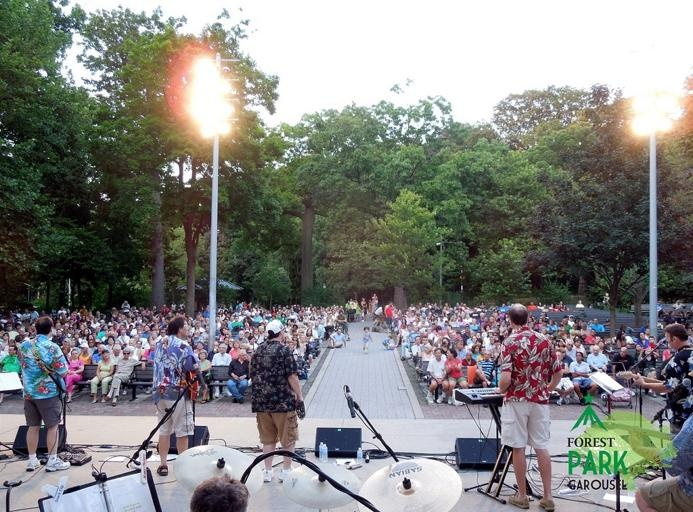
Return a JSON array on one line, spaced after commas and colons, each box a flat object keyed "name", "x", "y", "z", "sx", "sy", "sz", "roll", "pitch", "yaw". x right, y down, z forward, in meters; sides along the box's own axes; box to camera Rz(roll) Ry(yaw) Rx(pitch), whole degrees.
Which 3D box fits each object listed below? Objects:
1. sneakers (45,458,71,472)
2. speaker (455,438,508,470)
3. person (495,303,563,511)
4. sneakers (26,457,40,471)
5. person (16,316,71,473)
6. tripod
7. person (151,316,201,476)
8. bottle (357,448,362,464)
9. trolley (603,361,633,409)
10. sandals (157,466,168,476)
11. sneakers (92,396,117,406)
[{"name": "sneakers", "x": -5.466, "y": 3.948, "z": 12.611, "sx": 0.483, "sy": 0.280, "sz": 0.204, "roll": 2, "pitch": 1, "yaw": -16}, {"name": "speaker", "x": 2.506, "y": 3.808, "z": 12.756, "sx": 0.831, "sy": 0.586, "sz": 0.689, "roll": 0, "pitch": -1, "yaw": 3}, {"name": "person", "x": 3.133, "y": 2.572, "z": 11.329, "sx": 0.980, "sy": 3.513, "sz": 0.436, "roll": -1, "pitch": -5, "yaw": 10}, {"name": "sneakers", "x": -5.891, "y": 3.936, "z": 12.556, "sx": 0.164, "sy": 0.228, "sz": 0.329, "roll": 1, "pitch": 0, "yaw": 2}, {"name": "person", "x": -5.715, "y": 2.623, "z": 12.640, "sx": 0.847, "sy": 2.887, "sz": 0.600, "roll": 3, "pitch": -6, "yaw": -36}, {"name": "tripod", "x": 2.679, "y": 3.597, "z": 13.016, "sx": 1.199, "sy": 1.754, "sz": 1.137, "roll": -4, "pitch": -8, "yaw": -2}, {"name": "person", "x": -3.170, "y": 2.598, "z": 12.369, "sx": 0.816, "sy": 2.946, "sz": 0.433, "roll": 1, "pitch": -5, "yaw": -13}, {"name": "bottle", "x": 0.284, "y": 3.929, "z": 13.090, "sx": 0.122, "sy": 0.242, "sz": 0.353, "roll": -1, "pitch": -6, "yaw": 1}, {"name": "trolley", "x": 8.114, "y": 3.548, "z": 19.652, "sx": 0.555, "sy": 0.595, "sz": 1.009, "roll": 12, "pitch": -42, "yaw": 16}, {"name": "sandals", "x": -3.406, "y": 3.984, "z": 12.334, "sx": 0.195, "sy": 0.188, "sz": 0.174, "roll": 1, "pitch": -6, "yaw": -16}, {"name": "sneakers", "x": -6.796, "y": 4.103, "z": 18.718, "sx": 0.374, "sy": 0.161, "sz": 0.126, "roll": 16, "pitch": -5, "yaw": -9}]
